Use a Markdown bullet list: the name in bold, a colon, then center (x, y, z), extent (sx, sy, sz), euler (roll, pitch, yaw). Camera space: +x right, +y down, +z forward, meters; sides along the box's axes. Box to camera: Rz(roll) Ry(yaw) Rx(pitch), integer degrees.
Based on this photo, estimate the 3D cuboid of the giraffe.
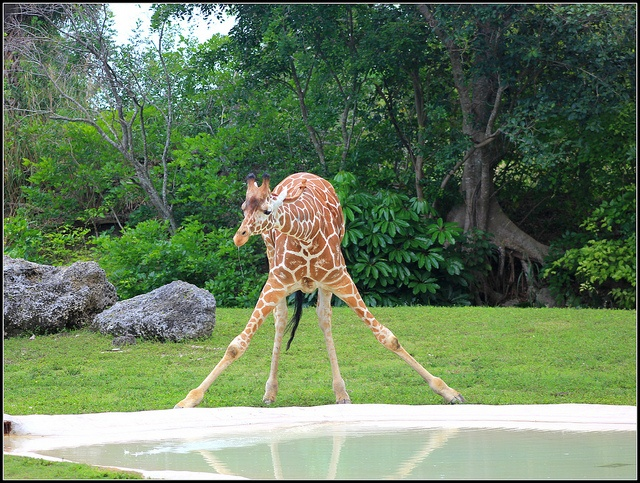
- **giraffe**: center (-0.214, 0.950, 14.283), extent (3.228, 2.461, 4.462), euler (-3, -14, 2)
